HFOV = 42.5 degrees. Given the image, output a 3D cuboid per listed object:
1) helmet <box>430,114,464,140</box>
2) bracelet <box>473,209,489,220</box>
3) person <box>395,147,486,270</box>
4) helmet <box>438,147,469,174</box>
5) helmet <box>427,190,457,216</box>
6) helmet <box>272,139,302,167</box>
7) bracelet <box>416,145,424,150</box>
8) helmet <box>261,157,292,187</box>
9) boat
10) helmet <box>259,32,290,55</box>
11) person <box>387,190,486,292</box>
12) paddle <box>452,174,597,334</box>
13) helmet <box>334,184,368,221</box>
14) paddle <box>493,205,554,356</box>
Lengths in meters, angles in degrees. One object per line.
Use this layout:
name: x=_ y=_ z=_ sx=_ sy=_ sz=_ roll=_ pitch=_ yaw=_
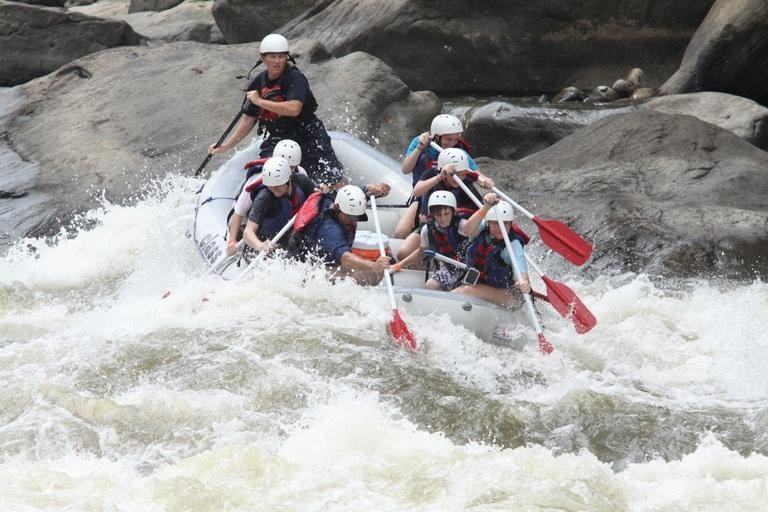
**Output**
helmet: x=0.843 y=-1.757 z=13.364 sx=0.289 sy=0.369 sz=0.270 roll=-9 pitch=80 yaw=-46
bracelet: x=1.221 y=-0.528 z=12.418 sx=0.134 sy=0.049 sz=0.127 roll=29 pitch=89 yaw=12
person: x=0.910 y=-0.592 z=13.177 sx=1.371 sy=1.129 sz=1.576 roll=-9 pitch=100 yaw=-10
helmet: x=0.902 y=-1.258 z=12.982 sx=0.294 sy=0.367 sz=0.269 roll=-2 pitch=76 yaw=-32
helmet: x=0.752 y=-0.675 z=12.555 sx=0.235 sy=0.300 sz=0.222 roll=-2 pitch=66 yaw=5
helmet: x=-1.275 y=-1.386 z=13.147 sx=0.321 sy=0.339 sz=0.391 roll=4 pitch=21 yaw=-4
bracelet: x=0.513 y=-1.476 z=13.392 sx=0.063 sy=0.079 sz=0.025 roll=3 pitch=61 yaw=-9
helmet: x=-1.391 y=-1.083 z=12.777 sx=0.353 sy=0.298 sz=0.380 roll=7 pitch=53 yaw=5
boat: x=-0.310 y=-0.185 z=13.186 sx=2.415 sy=0.905 sz=4.520 roll=-36 pitch=55 yaw=-23
helmet: x=-1.511 y=-2.891 z=13.543 sx=0.341 sy=0.418 sz=0.322 roll=-3 pitch=78 yaw=-14
person: x=0.735 y=-0.156 z=12.758 sx=1.295 sy=1.244 sz=0.760 roll=-5 pitch=11 yaw=7
paddle: x=1.843 y=0.045 z=12.868 sx=0.377 sy=0.238 sz=2.779 roll=-41 pitch=79 yaw=-20
helmet: x=-0.401 y=-0.723 z=12.486 sx=0.461 sy=0.235 sz=0.354 roll=40 pitch=41 yaw=20
paddle: x=1.770 y=0.375 z=12.515 sx=0.320 sy=0.234 sz=1.992 roll=-22 pitch=86 yaw=-16
